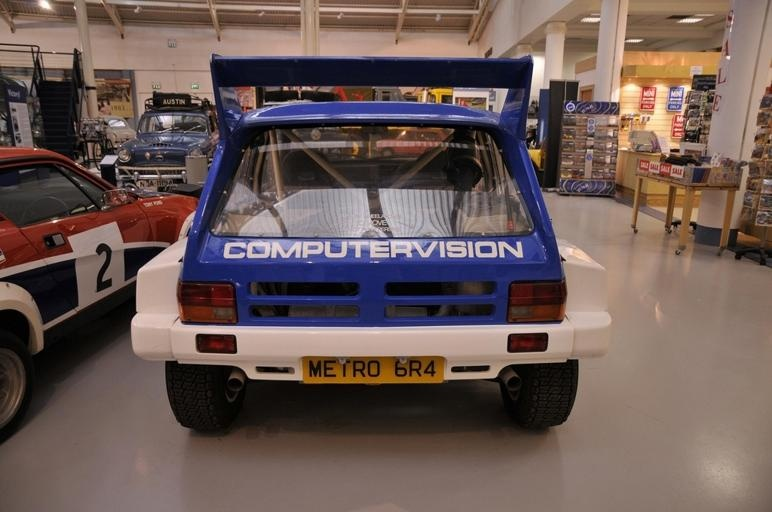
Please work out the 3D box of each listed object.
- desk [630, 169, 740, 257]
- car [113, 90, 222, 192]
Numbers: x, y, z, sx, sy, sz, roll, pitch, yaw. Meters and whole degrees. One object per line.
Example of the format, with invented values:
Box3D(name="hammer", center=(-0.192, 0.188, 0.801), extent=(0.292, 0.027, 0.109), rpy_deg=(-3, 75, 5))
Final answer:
Box3D(name="desk", center=(4.286, -0.616, 7.918), extent=(0.483, 0.679, 0.915), rpy_deg=(13, 11, -19))
Box3D(name="car", center=(-4.417, -2.546, 11.221), extent=(1.599, 1.799, 2.982), rpy_deg=(6, 22, -5))
